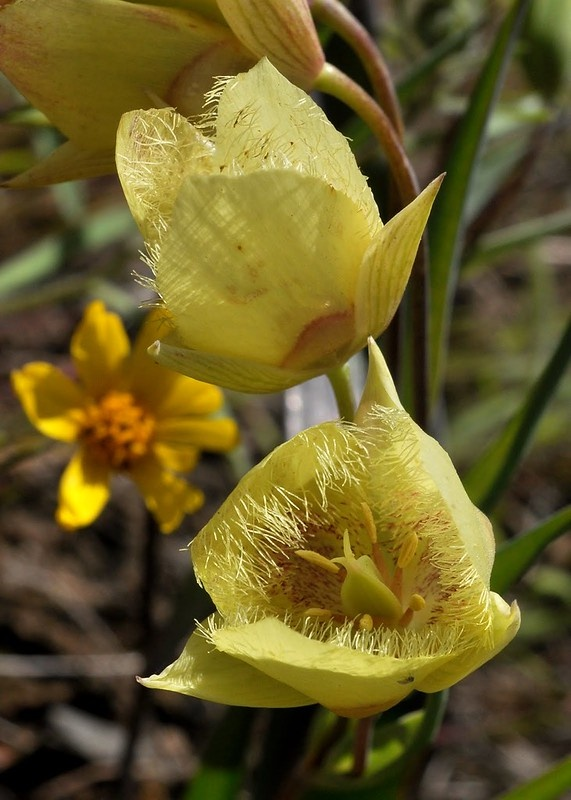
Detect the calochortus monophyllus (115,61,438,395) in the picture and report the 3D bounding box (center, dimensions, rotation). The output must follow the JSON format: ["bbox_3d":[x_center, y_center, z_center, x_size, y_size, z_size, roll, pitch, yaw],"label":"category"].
[{"bbox_3d":[-0.012,-0.085,0.516,0.184,0.211,0.164,-30,92,11],"label":"calochortus monophyllus"}]

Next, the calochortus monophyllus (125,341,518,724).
[{"bbox_3d":[0.074,0.103,0.549,0.244,0.159,0.267,7,56,23],"label":"calochortus monophyllus"}]
